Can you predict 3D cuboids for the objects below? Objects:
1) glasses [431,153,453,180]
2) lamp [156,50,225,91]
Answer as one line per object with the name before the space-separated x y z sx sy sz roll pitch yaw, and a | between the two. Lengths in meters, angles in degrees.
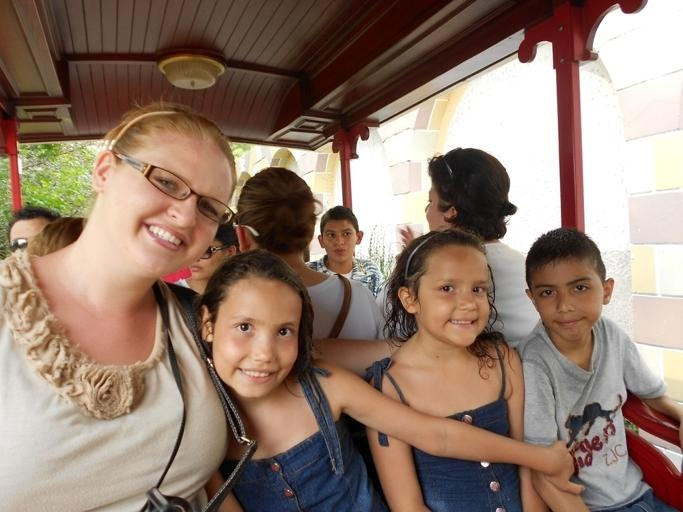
glasses | 0.586 -0.514 2.787 0.037 0.134 0.134 -39 49 -13
lamp | -1.288 -1.604 4.227 0.541 0.306 0.255 -3 0 -20
